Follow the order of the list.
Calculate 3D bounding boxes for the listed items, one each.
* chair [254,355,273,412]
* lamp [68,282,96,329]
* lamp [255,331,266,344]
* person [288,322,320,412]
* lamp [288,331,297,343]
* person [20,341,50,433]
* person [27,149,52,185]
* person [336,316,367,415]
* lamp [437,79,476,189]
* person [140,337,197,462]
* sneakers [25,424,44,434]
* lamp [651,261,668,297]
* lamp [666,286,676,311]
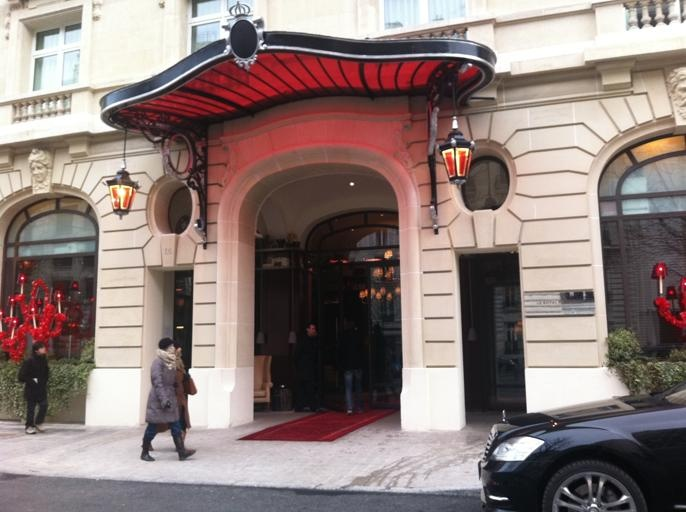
[{"bbox_3d":[-2.122,3.398,17.176,0.478,1.384,0.967,-1,-1,-7],"label":"chair"},{"bbox_3d":[-6.831,1.263,16.640,0.839,1.140,0.406,-5,-4,13],"label":"lamp"},{"bbox_3d":[-2.262,2.275,17.676,0.270,0.297,0.273,1,-2,-14],"label":"lamp"},{"bbox_3d":[-0.952,2.993,17.058,0.655,2.292,0.888,-1,-1,-4],"label":"person"},{"bbox_3d":[-1.372,2.234,17.491,0.255,0.371,0.262,3,-9,1],"label":"lamp"},{"bbox_3d":[-7.135,3.041,14.762,0.395,2.079,0.568,-2,-1,17],"label":"person"},{"bbox_3d":[-8.089,-2.404,17.039,0.610,0.963,0.213,-2,-1,17],"label":"person"},{"bbox_3d":[0.261,2.866,16.549,0.517,2.272,0.928,-1,-1,11],"label":"person"},{"bbox_3d":[2.351,-2.519,13.302,0.710,2.110,1.312,-1,-1,11],"label":"lamp"},{"bbox_3d":[-3.182,2.616,11.602,0.945,2.180,0.759,-1,-1,-15],"label":"person"},{"bbox_3d":[-7.162,4.010,14.811,0.442,0.196,0.167,-1,0,8],"label":"sneakers"},{"bbox_3d":[6.526,0.462,13.103,0.323,0.695,0.129,-2,-1,20],"label":"lamp"},{"bbox_3d":[6.703,0.851,12.975,0.189,0.468,0.133,-2,-1,23],"label":"lamp"}]
